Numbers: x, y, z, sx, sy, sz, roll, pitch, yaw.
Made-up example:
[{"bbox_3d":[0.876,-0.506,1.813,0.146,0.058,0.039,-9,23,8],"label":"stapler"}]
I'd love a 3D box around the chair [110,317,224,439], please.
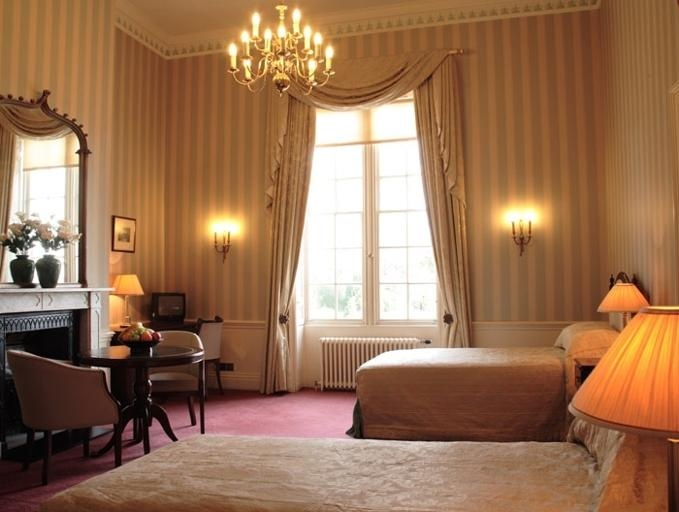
[{"bbox_3d":[-1.660,1.292,6.187,1.215,1.526,1.151,-2,-14,0],"label":"chair"}]

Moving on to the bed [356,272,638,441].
[{"bbox_3d":[1.379,0.903,5.424,2.131,1.453,1.411,0,-5,14],"label":"bed"}]

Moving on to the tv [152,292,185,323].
[{"bbox_3d":[-2.289,0.689,7.523,0.385,0.374,0.391,3,-10,-26],"label":"tv"}]

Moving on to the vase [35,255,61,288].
[{"bbox_3d":[-2.799,0.145,5.398,0.219,0.313,0.226,3,5,-2],"label":"vase"}]

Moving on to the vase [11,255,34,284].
[{"bbox_3d":[-2.913,0.136,5.149,0.217,0.309,0.220,-3,-3,41],"label":"vase"}]

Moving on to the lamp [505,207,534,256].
[{"bbox_3d":[2.244,-0.298,6.994,0.347,0.569,0.116,-2,3,20],"label":"lamp"}]

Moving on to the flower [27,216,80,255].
[{"bbox_3d":[-2.760,-0.197,5.405,0.308,0.229,0.325,6,-1,-14],"label":"flower"}]

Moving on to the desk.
[{"bbox_3d":[-1.761,1.290,5.072,1.046,0.841,1.101,-1,-3,15],"label":"desk"}]

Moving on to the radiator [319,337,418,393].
[{"bbox_3d":[0.341,1.210,6.361,0.765,0.443,0.104,-2,-7,17],"label":"radiator"}]
